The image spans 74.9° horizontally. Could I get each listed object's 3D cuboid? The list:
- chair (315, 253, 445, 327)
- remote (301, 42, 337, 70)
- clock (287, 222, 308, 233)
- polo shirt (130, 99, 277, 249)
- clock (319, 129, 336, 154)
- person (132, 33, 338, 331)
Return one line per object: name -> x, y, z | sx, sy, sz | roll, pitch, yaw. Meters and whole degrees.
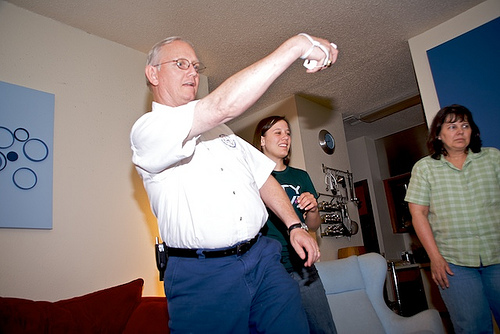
chair -> 0.990, 1.044, 2.910 | 0.757, 0.825, 0.736 | 6, -33, -26
remote -> 0.351, -0.585, 1.750 | 0.152, 0.159, 0.038 | -51, -6, 2
clock -> 0.274, 0.359, 1.862 | 0.093, 0.031, 0.094 | -9, -6, 4
polo shirt -> -0.284, 0.022, 1.985 | 0.616, 0.902, 0.982 | -8, -4, 32
clock -> 1.239, -0.408, 5.228 | 0.083, 0.407, 0.425 | -14, -12, 39
person -> -0.103, 0.122, 1.670 | 0.916, 1.456, 0.630 | -3, -10, -19
